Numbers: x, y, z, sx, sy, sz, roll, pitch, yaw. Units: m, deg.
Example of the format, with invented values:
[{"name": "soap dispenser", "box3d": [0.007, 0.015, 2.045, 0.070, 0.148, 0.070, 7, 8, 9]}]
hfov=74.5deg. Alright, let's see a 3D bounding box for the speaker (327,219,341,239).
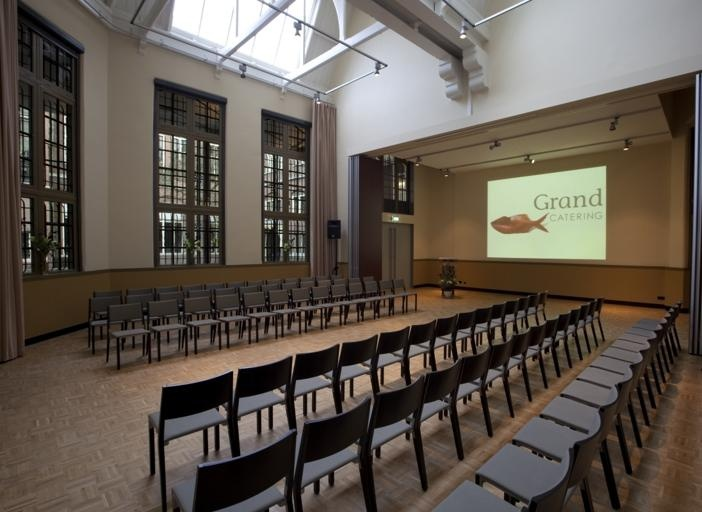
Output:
[{"name": "speaker", "box3d": [-0.472, -0.796, 13.590, 0.442, 0.535, 0.212, -3, 3, -31]}]
